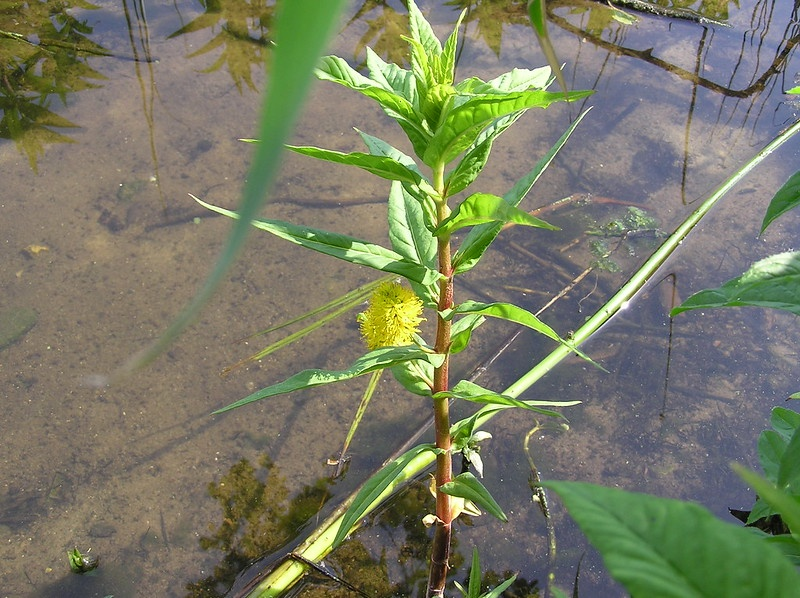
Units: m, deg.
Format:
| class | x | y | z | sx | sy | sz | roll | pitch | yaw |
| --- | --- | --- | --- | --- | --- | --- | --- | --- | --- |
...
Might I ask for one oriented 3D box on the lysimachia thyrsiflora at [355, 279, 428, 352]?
| class | x | y | z | sx | sy | sz | roll | pitch | yaw |
| --- | --- | --- | --- | --- | --- | --- | --- | --- | --- |
| lysimachia thyrsiflora | -0.043 | 0.078 | 3.374 | 0.242 | 0.274 | 0.264 | -7 | 51 | -22 |
